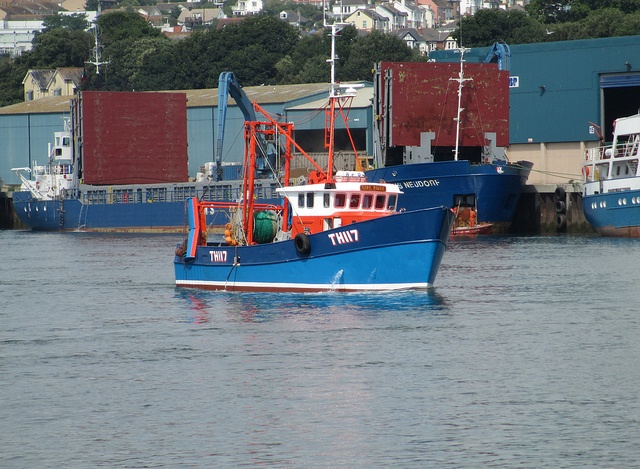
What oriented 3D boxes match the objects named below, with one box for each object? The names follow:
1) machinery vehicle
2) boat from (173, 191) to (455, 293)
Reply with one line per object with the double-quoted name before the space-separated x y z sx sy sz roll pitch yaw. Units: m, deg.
"machinery vehicle" -5.678 -7.693 117.470 2.255 8.161 6.956 5 9 29
"boat" -0.520 1.008 87.917 15.598 4.950 4.909 1 -5 30
